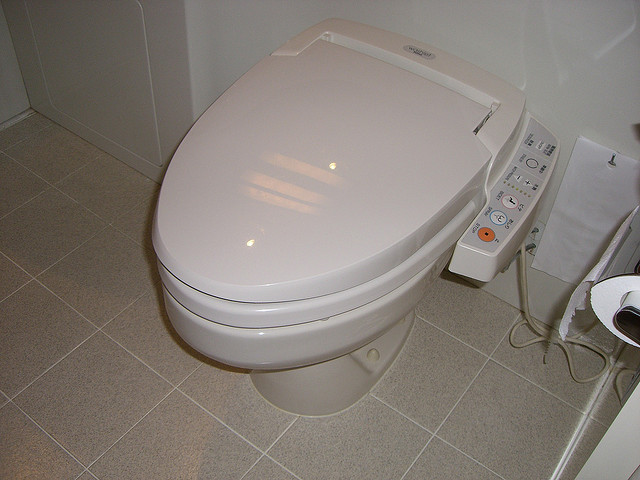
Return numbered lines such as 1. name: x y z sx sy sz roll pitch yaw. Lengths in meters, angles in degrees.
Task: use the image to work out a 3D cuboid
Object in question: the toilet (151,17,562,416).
1. toilet: 0.059 0.047 1.022 0.563 0.669 0.727 30 54 21
